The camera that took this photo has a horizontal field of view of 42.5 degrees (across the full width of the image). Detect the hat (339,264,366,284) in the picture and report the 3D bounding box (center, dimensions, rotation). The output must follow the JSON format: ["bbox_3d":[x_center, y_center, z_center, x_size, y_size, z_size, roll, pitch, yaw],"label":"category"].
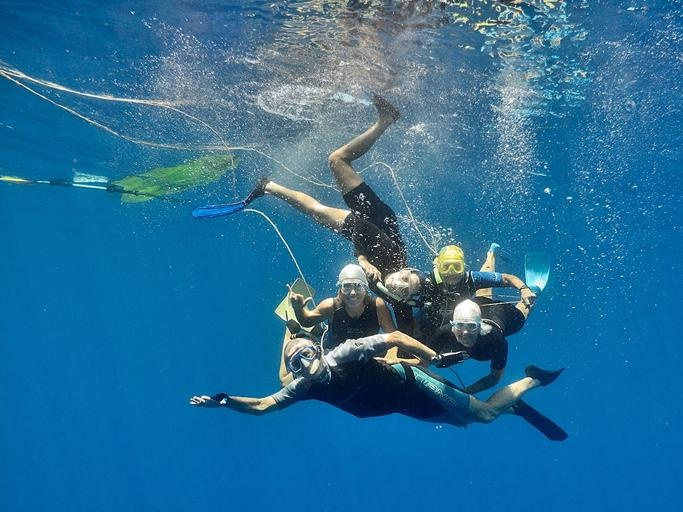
[{"bbox_3d":[0.286,0.415,19.644,0.701,0.425,0.496,0,29,-13],"label":"hat"}]

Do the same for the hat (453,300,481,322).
[{"bbox_3d":[2.799,1.216,19.394,0.601,0.374,0.450,10,28,7],"label":"hat"}]

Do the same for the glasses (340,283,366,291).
[{"bbox_3d":[0.257,0.678,19.454,0.511,0.207,0.101,4,29,-6],"label":"glasses"}]
